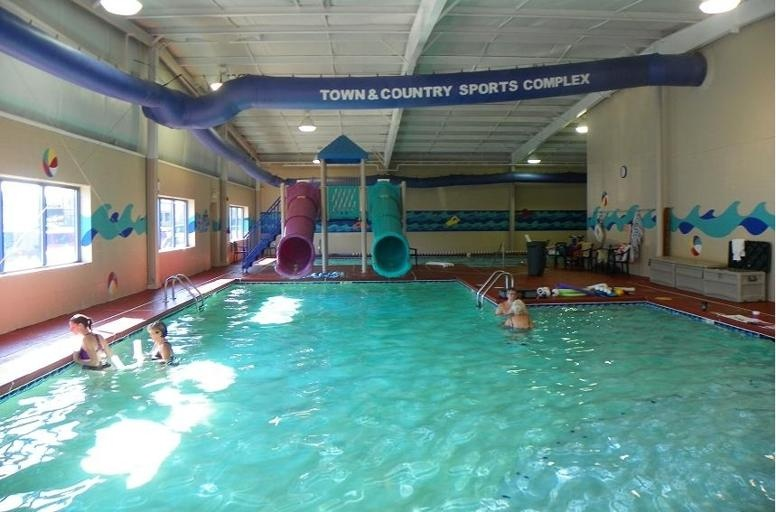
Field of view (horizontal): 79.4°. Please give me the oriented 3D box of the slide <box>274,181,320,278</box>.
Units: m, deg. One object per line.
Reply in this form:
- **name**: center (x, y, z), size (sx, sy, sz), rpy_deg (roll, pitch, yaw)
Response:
- **slide**: center (-2.367, -0.674, 12.172), size (1.105, 1.003, 3.143), rpy_deg (-8, 23, -3)

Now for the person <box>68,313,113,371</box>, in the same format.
- **person**: center (-4.340, 1.210, 6.812), size (0.461, 0.823, 0.435), rpy_deg (-9, 14, -34)

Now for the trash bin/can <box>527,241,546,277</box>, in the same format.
- **trash bin/can**: center (4.082, 0.073, 12.797), size (0.490, 0.944, 0.309), rpy_deg (-1, 12, 3)

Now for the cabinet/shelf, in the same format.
- **cabinet/shelf**: center (6.820, 0.500, 10.110), size (0.637, 0.721, 2.158), rpy_deg (-4, 11, -15)
